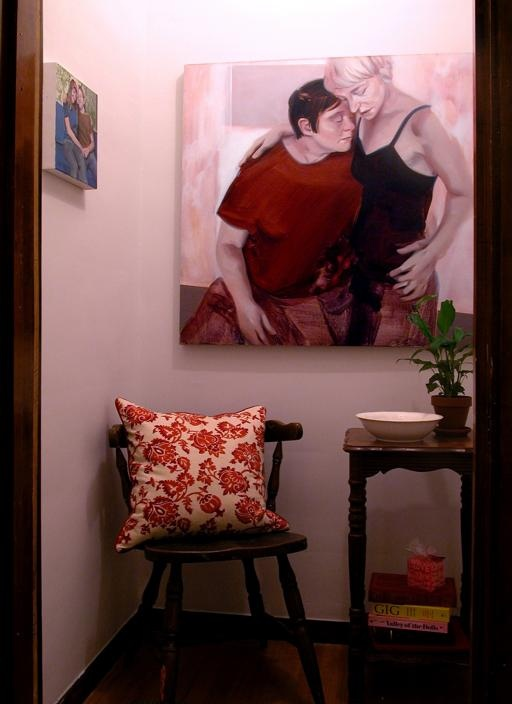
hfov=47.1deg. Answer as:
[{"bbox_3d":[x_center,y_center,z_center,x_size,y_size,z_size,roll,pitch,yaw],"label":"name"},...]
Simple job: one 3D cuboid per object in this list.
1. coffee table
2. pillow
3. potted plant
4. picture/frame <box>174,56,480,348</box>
[{"bbox_3d":[0.450,0.623,1.795,0.401,0.798,0.576,4,9,18],"label":"coffee table"},{"bbox_3d":[-0.171,0.367,1.713,0.473,0.480,0.200,3,-12,-18],"label":"pillow"},{"bbox_3d":[0.600,0.066,1.833,0.193,0.400,0.187,0,-4,7],"label":"potted plant"},{"bbox_3d":[0.225,-0.381,2.345,1.217,1.368,0.796,5,10,22],"label":"picture/frame"}]
